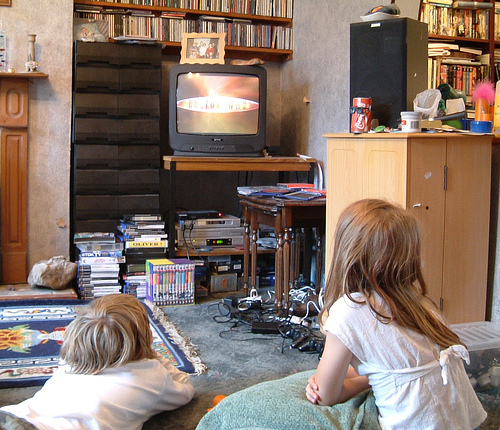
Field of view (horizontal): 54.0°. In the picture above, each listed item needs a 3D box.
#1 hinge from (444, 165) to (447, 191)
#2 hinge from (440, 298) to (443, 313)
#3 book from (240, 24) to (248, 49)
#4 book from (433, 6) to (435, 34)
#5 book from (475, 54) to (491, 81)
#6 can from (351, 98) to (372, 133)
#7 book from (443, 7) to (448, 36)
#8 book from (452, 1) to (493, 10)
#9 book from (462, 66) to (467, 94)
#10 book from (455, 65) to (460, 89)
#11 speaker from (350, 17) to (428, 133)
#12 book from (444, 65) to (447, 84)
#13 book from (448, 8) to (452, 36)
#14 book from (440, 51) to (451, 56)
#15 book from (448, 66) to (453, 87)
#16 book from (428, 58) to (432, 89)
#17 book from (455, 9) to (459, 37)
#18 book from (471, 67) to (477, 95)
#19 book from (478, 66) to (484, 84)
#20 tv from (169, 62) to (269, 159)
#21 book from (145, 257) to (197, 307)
[{"bbox_3d":[0.815,-0.155,2.034,0.014,0.103,0.008,-2,7,-37],"label":"hinge"},{"bbox_3d":[0.812,0.376,2.069,0.013,0.057,0.007,-1,7,-30],"label":"hinge"},{"bbox_3d":[-0.051,-1.511,4.135,0.062,0.186,0.015,1,6,-11],"label":"book"},{"bbox_3d":[1.355,-1.439,3.594,0.028,0.188,0.008,-1,6,-29],"label":"book"},{"bbox_3d":[1.802,-1.154,3.828,0.079,0.150,0.152,-3,10,-10],"label":"book"},{"bbox_3d":[0.526,-0.473,2.309,0.091,0.177,0.215,3,6,13],"label":"can"},{"bbox_3d":[1.447,-1.440,3.618,0.041,0.196,0.012,0,6,-20],"label":"book"},{"bbox_3d":[1.658,-1.556,3.635,0.326,0.057,0.068,1,6,-13],"label":"book"},{"bbox_3d":[1.612,-1.024,3.674,0.037,0.199,0.067,4,6,23],"label":"book"},{"bbox_3d":[1.553,-1.038,3.650,0.032,0.148,0.138,2,5,14],"label":"book"},{"bbox_3d":[0.710,-0.733,2.548,0.407,0.557,0.285,4,6,19],"label":"speaker"},{"bbox_3d":[1.457,-1.054,3.638,0.026,0.123,0.012,1,6,-10],"label":"book"},{"bbox_3d":[1.489,-1.440,3.634,0.038,0.194,0.017,-1,6,-25],"label":"book"},{"bbox_3d":[1.466,-1.197,3.624,0.046,0.012,0.049,2,7,34],"label":"book"},{"bbox_3d":[1.487,-1.035,3.623,0.026,0.146,0.070,4,6,22],"label":"book"},{"bbox_3d":[1.322,-1.047,3.587,0.024,0.228,0.101,4,6,19],"label":"book"},{"bbox_3d":[1.543,-1.440,3.647,0.036,0.188,0.016,-1,7,-30],"label":"book"},{"bbox_3d":[1.677,-1.032,3.651,0.032,0.177,0.198,4,6,23],"label":"book"},{"bbox_3d":[1.774,-1.079,3.723,0.030,0.123,0.077,3,6,14],"label":"book"},{"bbox_3d":[-0.231,-0.768,3.913,1.012,1.003,0.629,0,3,-5],"label":"tv"},{"bbox_3d":[-0.533,0.441,3.316,0.287,0.291,0.208,-1,10,-15],"label":"book"}]
